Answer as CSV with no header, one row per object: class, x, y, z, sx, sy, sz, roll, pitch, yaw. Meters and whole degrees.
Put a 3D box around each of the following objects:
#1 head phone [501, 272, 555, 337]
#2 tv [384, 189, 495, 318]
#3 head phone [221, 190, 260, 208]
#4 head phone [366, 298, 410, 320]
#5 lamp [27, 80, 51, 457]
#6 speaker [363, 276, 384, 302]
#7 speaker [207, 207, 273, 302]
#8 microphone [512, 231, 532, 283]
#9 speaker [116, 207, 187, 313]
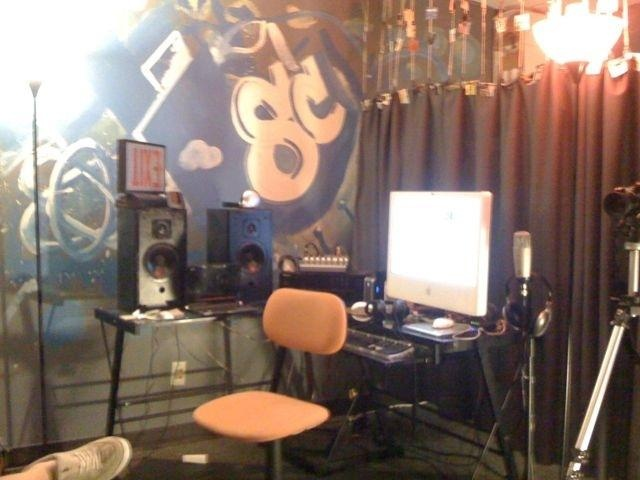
head phone,1.173,0.364,3.452,0.326,0.437,0.173,-3,-12,36
tv,0.653,0.077,3.415,0.075,0.677,0.685,0,2,-43
head phone,-0.530,-0.277,4.218,0.197,0.093,0.125,-3,16,-45
head phone,0.403,0.381,3.595,0.185,0.076,0.134,0,0,-21
lamp,-1.707,0.169,3.761,0.140,2.211,0.273,1,1,-24
speaker,0.338,0.299,3.886,0.124,0.113,0.086,1,1,8
speaker,-0.422,0.088,4.277,0.328,0.619,0.335,2,6,19
microphone,1.113,0.084,3.390,0.089,0.233,0.137,2,1,26
speaker,-1.016,0.078,4.016,0.400,0.667,0.377,-3,19,-28
